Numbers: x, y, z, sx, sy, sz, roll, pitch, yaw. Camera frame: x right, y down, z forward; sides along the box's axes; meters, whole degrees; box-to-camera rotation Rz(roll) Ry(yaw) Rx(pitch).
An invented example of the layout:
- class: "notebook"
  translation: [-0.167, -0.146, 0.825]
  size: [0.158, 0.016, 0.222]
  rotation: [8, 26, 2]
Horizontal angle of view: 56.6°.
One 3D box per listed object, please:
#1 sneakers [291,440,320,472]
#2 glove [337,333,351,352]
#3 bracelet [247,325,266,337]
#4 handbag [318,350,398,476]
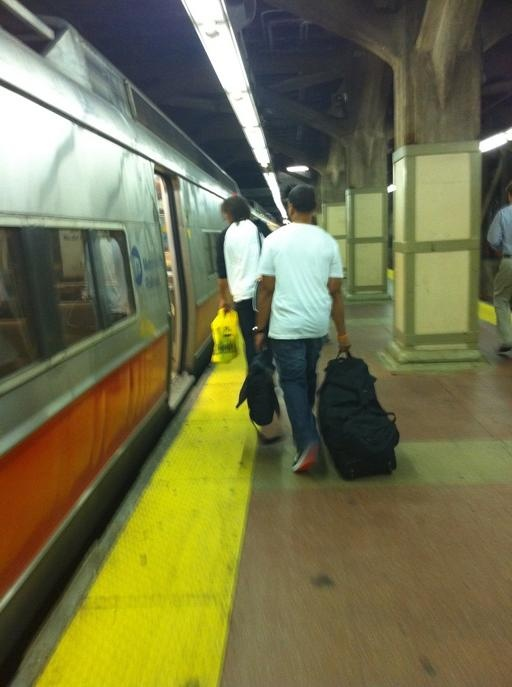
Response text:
- class: "sneakers"
  translation: [0.297, 0.705, 2.926]
  size: [0.087, 0.285, 0.135]
  rotation: [10, 46, -14]
- class: "glove"
  translation: [0.703, -0.009, 3.786]
  size: [0.056, 0.253, 0.116]
  rotation: [-2, 7, -38]
- class: "bracelet"
  translation: [0.004, -0.102, 3.511]
  size: [0.088, 0.041, 0.067]
  rotation: [9, 7, -26]
- class: "handbag"
  translation: [0.613, 0.448, 2.880]
  size: [0.496, 0.680, 0.443]
  rotation: [1, 6, 26]
